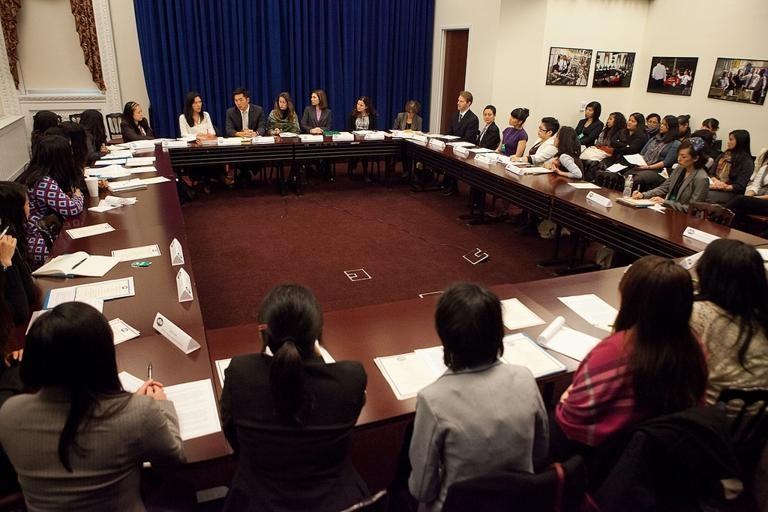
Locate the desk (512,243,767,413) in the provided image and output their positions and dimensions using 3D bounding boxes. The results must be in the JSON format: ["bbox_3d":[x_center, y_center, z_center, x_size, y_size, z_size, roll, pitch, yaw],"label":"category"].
[{"bbox_3d":[1.281,0.313,3.092,1.140,0.275,0.754,-11,34,-13],"label":"desk"}]

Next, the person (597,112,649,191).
[{"bbox_3d":[3.482,-1.470,7.457,0.652,1.263,0.445,-8,28,-11],"label":"person"}]

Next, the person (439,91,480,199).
[{"bbox_3d":[1.141,-1.704,7.815,0.537,1.635,0.571,-8,28,-26],"label":"person"}]

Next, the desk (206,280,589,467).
[{"bbox_3d":[-0.004,0.848,3.003,1.485,0.362,0.781,-7,42,-16],"label":"desk"}]

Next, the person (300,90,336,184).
[{"bbox_3d":[-1.049,-1.950,7.997,0.465,1.338,0.481,-7,42,-13],"label":"person"}]

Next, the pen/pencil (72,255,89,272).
[{"bbox_3d":[-2.004,0.042,3.337,0.016,0.015,0.110,-39,10,39],"label":"pen/pencil"}]
